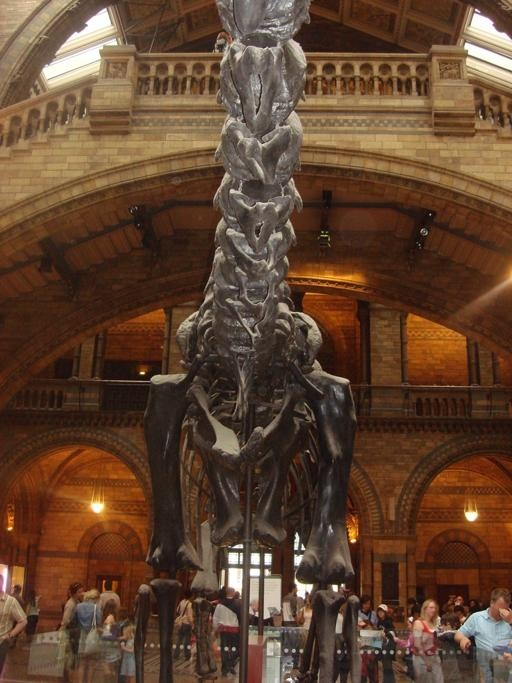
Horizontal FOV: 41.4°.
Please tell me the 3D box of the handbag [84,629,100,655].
[{"bbox_3d":[-1.157,2.129,4.799,0.104,0.161,0.132,6,-23,-11],"label":"handbag"}]
